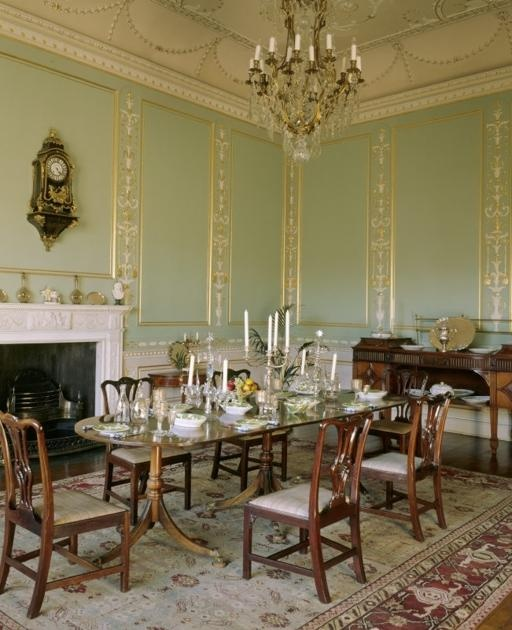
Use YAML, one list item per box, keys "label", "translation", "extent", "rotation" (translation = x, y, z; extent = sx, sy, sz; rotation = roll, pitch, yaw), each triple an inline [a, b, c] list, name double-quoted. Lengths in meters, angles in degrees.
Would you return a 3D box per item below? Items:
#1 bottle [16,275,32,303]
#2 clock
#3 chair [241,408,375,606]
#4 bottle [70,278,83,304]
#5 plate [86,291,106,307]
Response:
- label: "bottle"
  translation: [-2.005, -0.227, 4.476]
  extent: [0.047, 0.255, 0.142]
  rotation: [0, -3, 25]
- label: "clock"
  translation: [-1.813, -1.110, 4.584]
  extent: [0.379, 1.060, 0.267]
  rotation: [4, -4, -43]
- label: "chair"
  translation: [0.194, 0.779, 2.208]
  extent: [0.504, 0.734, 0.418]
  rotation: [0, -4, 28]
- label: "bottle"
  translation: [-1.677, -0.226, 4.853]
  extent: [0.056, 0.263, 0.141]
  rotation: [0, -3, 27]
- label: "plate"
  translation: [-1.553, -0.159, 5.023]
  extent: [0.059, 0.136, 0.220]
  rotation: [0, -4, 29]
